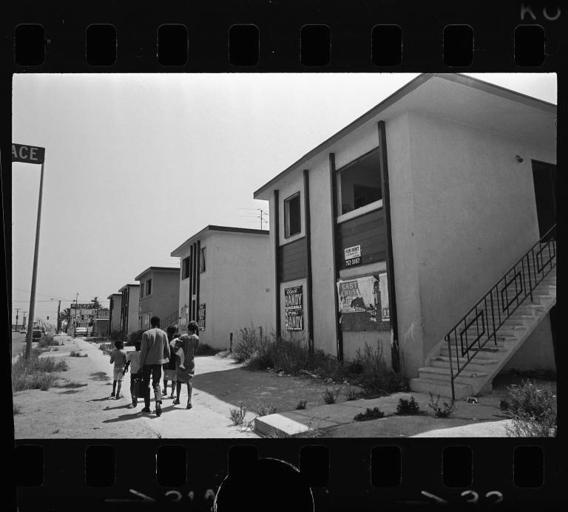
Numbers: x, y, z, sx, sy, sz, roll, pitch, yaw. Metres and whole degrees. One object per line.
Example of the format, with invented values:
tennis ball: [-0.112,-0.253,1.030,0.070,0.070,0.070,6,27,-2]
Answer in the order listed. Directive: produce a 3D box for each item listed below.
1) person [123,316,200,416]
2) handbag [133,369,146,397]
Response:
person: [-1.869,1.787,8.411,0.665,1.472,1.211,-6,-13,27]
handbag: [-2.208,1.938,8.021,0.131,0.532,0.286,0,-9,1]
